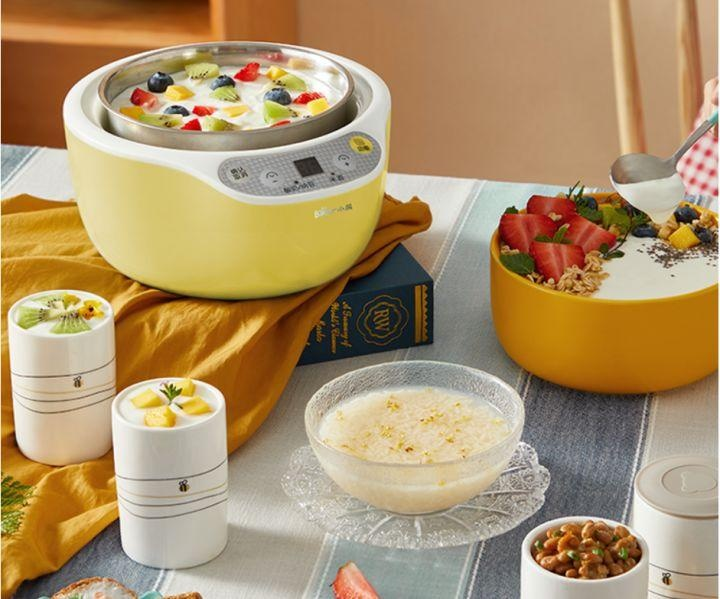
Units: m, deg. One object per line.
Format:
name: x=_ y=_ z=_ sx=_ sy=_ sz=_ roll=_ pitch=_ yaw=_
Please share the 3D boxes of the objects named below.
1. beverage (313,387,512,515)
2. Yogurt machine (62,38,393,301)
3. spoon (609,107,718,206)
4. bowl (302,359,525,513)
beverage: x=0.051 y=0.134 z=0.576 sx=0.129 sy=0.043 sz=0.111 roll=3 pitch=28 yaw=7
Yogurt machine: x=-0.171 y=-0.136 z=0.774 sx=0.346 sy=0.149 sz=0.337 roll=24 pitch=37 yaw=34
spoon: x=0.371 y=-0.163 z=0.756 sx=0.075 sy=0.142 sz=0.030 roll=50 pitch=26 yaw=5
bowl: x=0.048 y=0.124 z=0.589 sx=0.185 sy=0.081 sz=0.178 roll=0 pitch=26 yaw=0
